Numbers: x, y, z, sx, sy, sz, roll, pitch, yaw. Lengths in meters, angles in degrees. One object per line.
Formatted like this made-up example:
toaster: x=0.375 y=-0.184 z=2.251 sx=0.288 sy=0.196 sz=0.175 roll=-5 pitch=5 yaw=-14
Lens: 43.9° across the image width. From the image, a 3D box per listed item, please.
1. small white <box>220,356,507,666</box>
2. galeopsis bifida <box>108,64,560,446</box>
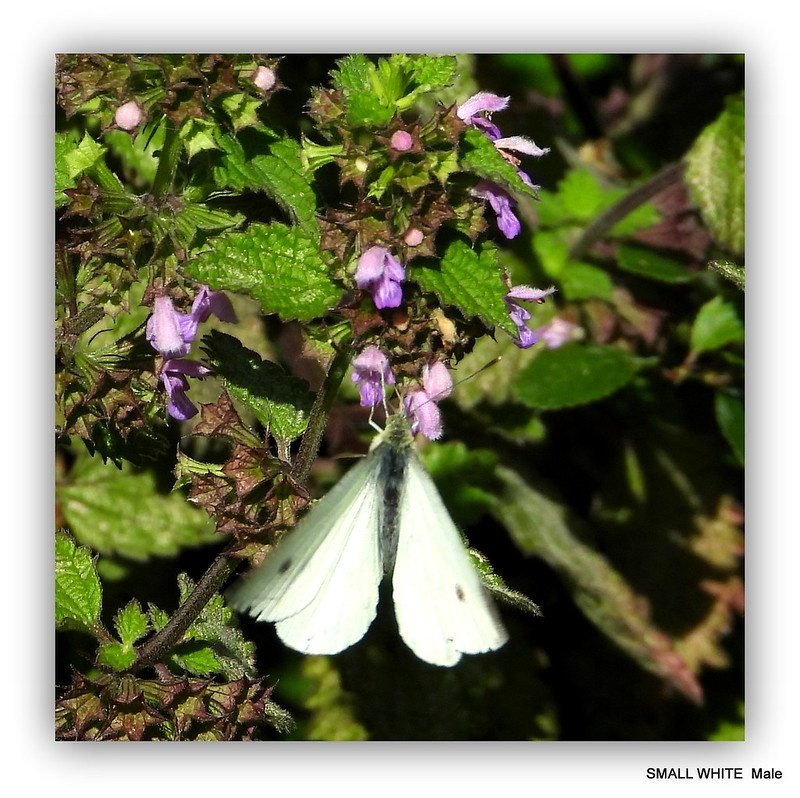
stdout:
small white: x=-0.051 y=0.405 z=2.664 sx=0.850 sy=0.791 sz=0.347 roll=16 pitch=25 yaw=5
galeopsis bifida: x=-0.086 y=-0.413 z=2.796 sx=1.084 sy=0.976 sz=0.641 roll=-7 pitch=10 yaw=-2
